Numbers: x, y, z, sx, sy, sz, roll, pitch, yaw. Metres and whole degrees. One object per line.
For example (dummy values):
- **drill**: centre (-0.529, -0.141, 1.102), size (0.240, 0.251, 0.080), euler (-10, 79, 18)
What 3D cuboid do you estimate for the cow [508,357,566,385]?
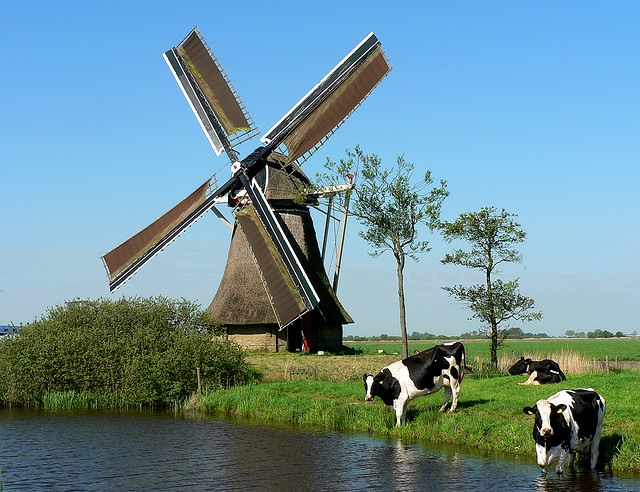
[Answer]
- **cow**: centre (9.519, 5.799, 27.982), size (2.129, 1.170, 5.122), euler (2, -11, -3)

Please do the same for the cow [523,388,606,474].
- **cow**: centre (6.495, 4.877, 15.728), size (2.150, 2.127, 0.679), euler (7, -12, -29)

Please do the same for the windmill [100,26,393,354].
- **windmill**: centre (-3.769, -1.653, 34.282), size (18.296, 23.149, 10.020), euler (-2, -5, 13)
